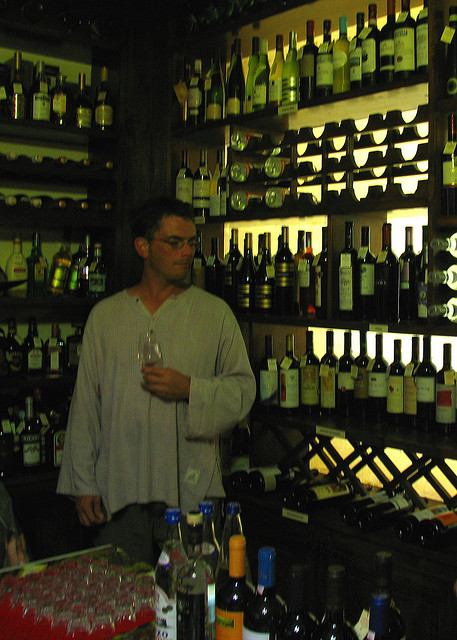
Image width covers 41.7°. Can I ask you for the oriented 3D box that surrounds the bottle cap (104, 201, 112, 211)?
[{"bbox_3d":[-0.557,-0.520,2.768,0.023,0.051,0.031,-1,0,-10],"label":"bottle cap"}]

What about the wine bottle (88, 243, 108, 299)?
[{"bbox_3d":[-0.606,-0.219,2.763,0.066,0.270,0.087,2,0,16],"label":"wine bottle"}]

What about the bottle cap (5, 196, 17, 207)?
[{"bbox_3d":[-0.890,-0.484,2.458,0.047,0.044,0.042,0,5,-27],"label":"bottle cap"}]

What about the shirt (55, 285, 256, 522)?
[{"bbox_3d":[-0.186,0.380,1.956,0.510,1.042,0.402,-6,-15,6],"label":"shirt"}]

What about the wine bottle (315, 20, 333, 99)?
[{"bbox_3d":[0.337,-0.918,2.124,0.065,0.284,0.097,2,3,10],"label":"wine bottle"}]

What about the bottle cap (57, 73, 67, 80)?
[{"bbox_3d":[-0.735,-1.073,2.654,0.026,0.022,0.045,1,6,-2],"label":"bottle cap"}]

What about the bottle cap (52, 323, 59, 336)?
[{"bbox_3d":[-0.776,0.046,2.689,0.028,0.083,0.035,-1,3,-15],"label":"bottle cap"}]

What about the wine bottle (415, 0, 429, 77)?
[{"bbox_3d":[0.588,-0.874,1.834,0.038,0.240,0.117,2,4,17],"label":"wine bottle"}]

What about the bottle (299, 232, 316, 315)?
[{"bbox_3d":[0.305,-0.181,2.312,0.062,0.311,0.175,1,4,7],"label":"bottle"}]

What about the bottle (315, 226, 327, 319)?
[{"bbox_3d":[0.344,-0.174,2.221,0.043,0.331,0.192,1,4,8],"label":"bottle"}]

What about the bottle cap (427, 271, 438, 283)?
[{"bbox_3d":[0.579,-0.119,1.705,0.017,0.030,0.024,0,9,-4],"label":"bottle cap"}]

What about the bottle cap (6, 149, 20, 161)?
[{"bbox_3d":[-0.888,-0.675,2.477,0.047,0.045,0.071,1,6,-15],"label":"bottle cap"}]

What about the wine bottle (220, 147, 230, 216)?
[{"bbox_3d":[-0.018,-0.582,2.551,0.034,0.281,0.154,1,4,-2],"label":"wine bottle"}]

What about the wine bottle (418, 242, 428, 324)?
[{"bbox_3d":[0.613,-0.116,1.899,0.026,0.254,0.127,2,4,17],"label":"wine bottle"}]

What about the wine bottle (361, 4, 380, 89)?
[{"bbox_3d":[0.471,-0.909,1.995,0.061,0.304,0.177,2,4,13],"label":"wine bottle"}]

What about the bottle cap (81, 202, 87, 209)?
[{"bbox_3d":[-0.634,-0.503,2.638,0.014,0.030,0.018,-1,2,-8],"label":"bottle cap"}]

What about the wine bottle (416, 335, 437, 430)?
[{"bbox_3d":[0.644,0.207,1.961,0.062,0.316,0.123,2,4,22],"label":"wine bottle"}]

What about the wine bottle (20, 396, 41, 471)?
[{"bbox_3d":[-0.836,0.482,2.536,0.085,0.299,0.095,-1,4,-26],"label":"wine bottle"}]

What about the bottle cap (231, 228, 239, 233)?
[{"bbox_3d":[0.032,-0.376,2.563,0.016,0.025,0.017,-1,2,-39],"label":"bottle cap"}]

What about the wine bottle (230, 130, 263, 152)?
[{"bbox_3d":[0.075,-0.746,2.518,0.086,0.098,0.195,4,6,23],"label":"wine bottle"}]

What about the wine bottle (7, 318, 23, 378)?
[{"bbox_3d":[-0.939,0.122,2.644,0.064,0.241,0.245,0,5,-21],"label":"wine bottle"}]

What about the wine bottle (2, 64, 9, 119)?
[{"bbox_3d":[-0.951,-0.983,2.564,0.025,0.240,0.196,0,5,-20],"label":"wine bottle"}]

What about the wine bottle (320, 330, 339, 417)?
[{"bbox_3d":[0.391,0.200,2.325,0.074,0.329,0.188,2,4,12],"label":"wine bottle"}]

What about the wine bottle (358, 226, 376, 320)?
[{"bbox_3d":[0.477,-0.163,2.086,0.058,0.319,0.188,2,4,13],"label":"wine bottle"}]

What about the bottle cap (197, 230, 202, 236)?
[{"bbox_3d":[-0.136,-0.402,2.789,0.012,0.023,0.016,0,0,-12],"label":"bottle cap"}]

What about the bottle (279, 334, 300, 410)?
[{"bbox_3d":[0.239,0.208,2.344,0.081,0.285,0.080,1,3,0],"label":"bottle"}]

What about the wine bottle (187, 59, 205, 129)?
[{"bbox_3d":[-0.142,-1.003,2.718,0.067,0.413,0.088,-2,-20,2],"label":"wine bottle"}]

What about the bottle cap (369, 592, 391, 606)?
[{"bbox_3d":[0.159,0.295,0.630,0.019,0.011,0.015,2,5,-3],"label":"bottle cap"}]

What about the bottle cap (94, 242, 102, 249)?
[{"bbox_3d":[-0.610,-0.345,2.807,0.027,0.053,0.037,1,3,2],"label":"bottle cap"}]

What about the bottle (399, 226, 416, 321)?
[{"bbox_3d":[0.597,-0.155,2.010,0.053,0.308,0.141,2,4,18],"label":"bottle"}]

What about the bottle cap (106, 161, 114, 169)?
[{"bbox_3d":[-0.539,-0.699,2.738,0.025,0.047,0.025,0,-1,44],"label":"bottle cap"}]

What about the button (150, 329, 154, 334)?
[{"bbox_3d":[-0.243,0.039,1.897,0.005,0.011,0.002,17,8,17],"label":"button"}]

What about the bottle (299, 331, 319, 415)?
[{"bbox_3d":[0.316,0.209,2.340,0.075,0.314,0.079,1,3,0],"label":"bottle"}]

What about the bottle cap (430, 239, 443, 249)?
[{"bbox_3d":[0.588,-0.214,1.705,0.017,0.034,0.026,0,3,8],"label":"bottle cap"}]

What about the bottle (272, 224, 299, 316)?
[{"bbox_3d":[0.231,-0.189,2.362,0.092,0.348,0.084,1,3,0],"label":"bottle"}]

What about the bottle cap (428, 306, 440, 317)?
[{"bbox_3d":[0.593,-0.019,1.731,0.019,0.033,0.006,9,2,27],"label":"bottle cap"}]

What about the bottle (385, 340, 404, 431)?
[{"bbox_3d":[0.579,0.218,2.091,0.064,0.295,0.244,2,4,16],"label":"bottle"}]

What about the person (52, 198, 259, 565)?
[{"bbox_3d":[-0.294,0.375,2.098,0.500,1.789,0.557,-6,42,-17],"label":"person"}]

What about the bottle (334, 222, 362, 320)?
[{"bbox_3d":[0.420,-0.169,2.102,0.091,0.337,0.125,2,3,10],"label":"bottle"}]

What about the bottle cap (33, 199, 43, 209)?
[{"bbox_3d":[-0.802,-0.486,2.525,0.038,0.039,0.033,0,5,-24],"label":"bottle cap"}]

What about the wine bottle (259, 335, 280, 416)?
[{"bbox_3d":[0.166,0.221,2.390,0.080,0.297,0.070,2,3,9],"label":"wine bottle"}]

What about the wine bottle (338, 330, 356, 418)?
[{"bbox_3d":[0.447,0.205,2.273,0.063,0.319,0.164,2,4,12],"label":"wine bottle"}]

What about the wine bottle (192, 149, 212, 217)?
[{"bbox_3d":[-0.122,-0.610,2.707,0.079,0.300,0.137,1,4,-4],"label":"wine bottle"}]

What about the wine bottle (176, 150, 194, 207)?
[{"bbox_3d":[-0.200,-0.650,2.756,0.080,0.256,0.173,1,4,-7],"label":"wine bottle"}]

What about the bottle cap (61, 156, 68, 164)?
[{"bbox_3d":[-0.706,-0.687,2.588,0.015,0.027,0.040,3,5,25],"label":"bottle cap"}]

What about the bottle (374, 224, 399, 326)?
[{"bbox_3d":[0.533,-0.157,2.011,0.083,0.321,0.180,1,4,-1],"label":"bottle"}]

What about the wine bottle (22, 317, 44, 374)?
[{"bbox_3d":[-0.883,0.116,2.713,0.094,0.243,0.102,1,3,0],"label":"wine bottle"}]

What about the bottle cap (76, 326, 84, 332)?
[{"bbox_3d":[-0.703,0.048,2.853,0.021,0.038,0.051,9,-7,-4],"label":"bottle cap"}]
